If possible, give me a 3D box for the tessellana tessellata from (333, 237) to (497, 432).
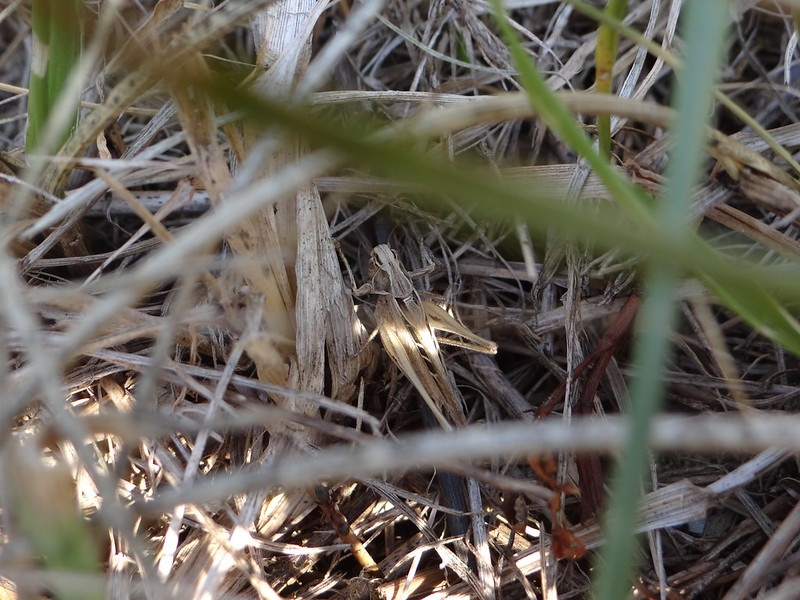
[{"bbox_3d":[0.053,0.049,1.274,0.172,0.188,0.263,-30,54,-24],"label":"tessellana tessellata"}]
